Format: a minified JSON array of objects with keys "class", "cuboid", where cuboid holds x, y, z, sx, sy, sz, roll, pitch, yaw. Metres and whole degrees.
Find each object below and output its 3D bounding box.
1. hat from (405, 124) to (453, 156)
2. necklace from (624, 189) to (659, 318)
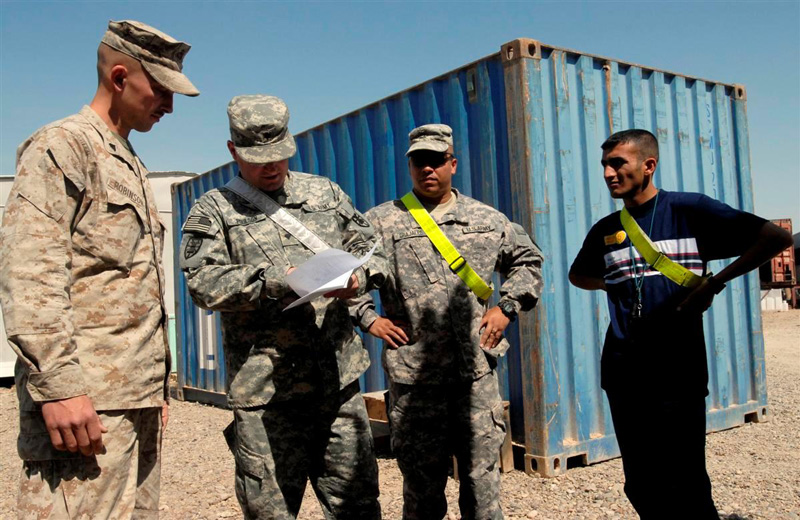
[{"class":"hat","cuboid":[0.242,-0.862,6.509,0.206,0.166,0.282,-9,-15,36]},{"class":"necklace","cuboid":[1.656,-0.056,6.176,0.177,0.614,0.432,-16,-18,23]}]
